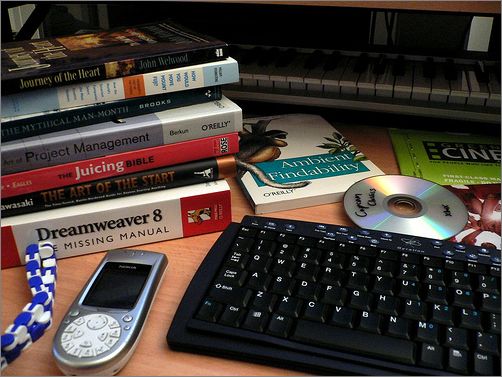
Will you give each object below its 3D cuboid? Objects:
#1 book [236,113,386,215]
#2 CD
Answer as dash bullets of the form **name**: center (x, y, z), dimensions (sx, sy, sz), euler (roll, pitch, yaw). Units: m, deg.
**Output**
- **book**: center (0.065, -0.054, 0.733), dimensions (0.282, 0.279, 0.023), euler (-7, -45, -29)
- **CD**: center (0.239, 0.024, 0.620), dimensions (0.174, 0.006, 0.150), euler (10, -41, 23)
